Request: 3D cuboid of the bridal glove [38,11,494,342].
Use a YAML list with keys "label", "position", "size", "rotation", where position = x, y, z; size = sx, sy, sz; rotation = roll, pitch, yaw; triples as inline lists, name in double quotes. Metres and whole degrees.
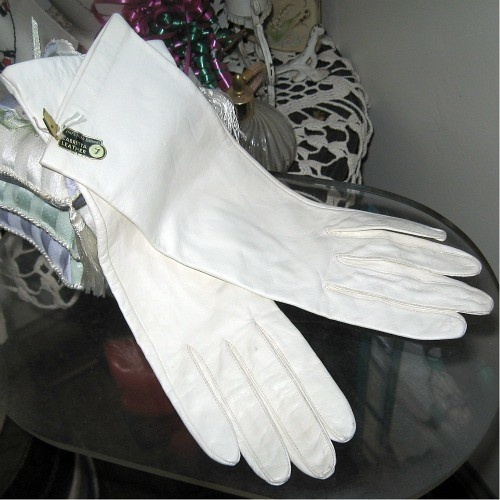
- label: "bridal glove"
  position: [0.133, -0.046, 0.837]
  size: [0.796, 0.323, 0.345]
  rotation: [24, 67, 5]
